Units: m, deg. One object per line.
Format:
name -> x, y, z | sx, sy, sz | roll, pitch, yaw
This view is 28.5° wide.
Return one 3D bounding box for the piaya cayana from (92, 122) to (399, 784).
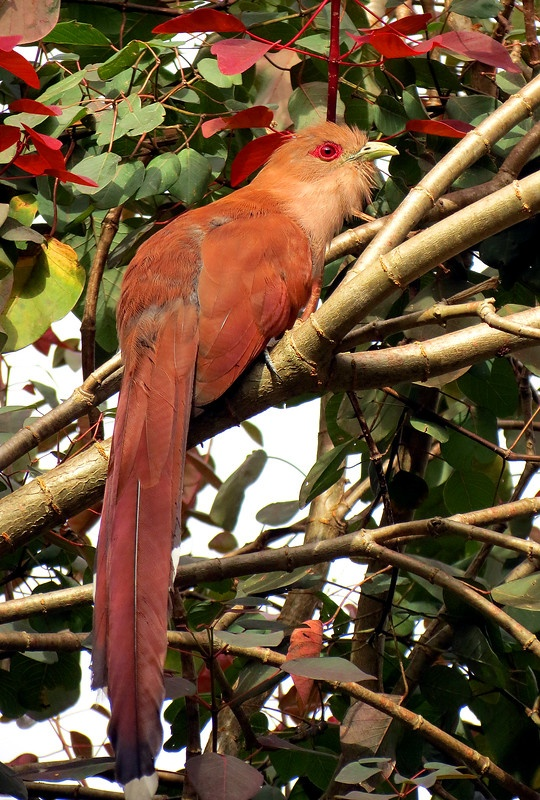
piaya cayana -> -0.084, -0.040, 2.504 | 0.649, 1.907, 0.277 | 0, -40, 5
